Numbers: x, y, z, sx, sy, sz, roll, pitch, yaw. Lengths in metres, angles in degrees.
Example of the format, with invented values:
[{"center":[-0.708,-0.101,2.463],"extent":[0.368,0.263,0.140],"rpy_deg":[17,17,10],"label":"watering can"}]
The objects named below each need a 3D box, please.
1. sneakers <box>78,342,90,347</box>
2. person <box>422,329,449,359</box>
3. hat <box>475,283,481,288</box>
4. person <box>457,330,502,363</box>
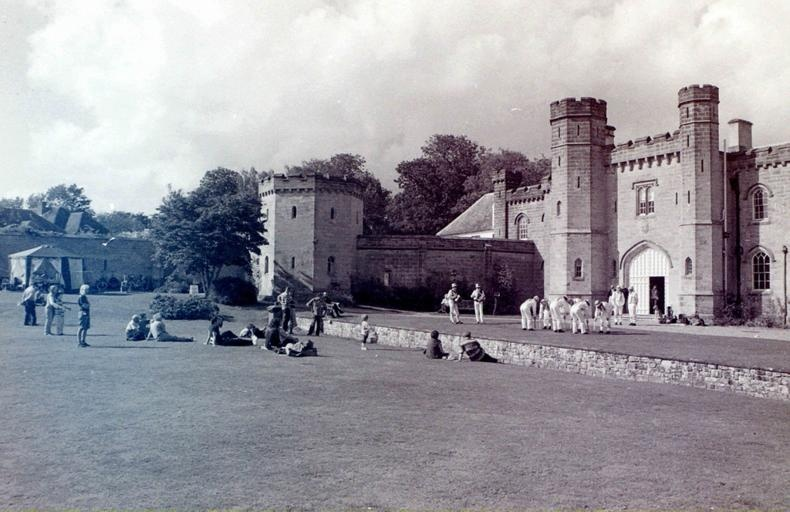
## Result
[{"center":[-12.567,3.582,31.976],"extent":[0.466,0.179,0.163],"rpy_deg":[0,0,8],"label":"sneakers"},{"center":[1.746,3.733,33.558],"extent":[0.980,1.042,0.850],"rpy_deg":[-1,6,1],"label":"person"},{"center":[4.603,1.626,43.748],"extent":[0.520,0.238,0.696],"rpy_deg":[0,-2,-2],"label":"hat"},{"center":[3.355,3.821,32.983],"extent":[1.465,1.156,0.732],"rpy_deg":[-1,6,3],"label":"person"}]
